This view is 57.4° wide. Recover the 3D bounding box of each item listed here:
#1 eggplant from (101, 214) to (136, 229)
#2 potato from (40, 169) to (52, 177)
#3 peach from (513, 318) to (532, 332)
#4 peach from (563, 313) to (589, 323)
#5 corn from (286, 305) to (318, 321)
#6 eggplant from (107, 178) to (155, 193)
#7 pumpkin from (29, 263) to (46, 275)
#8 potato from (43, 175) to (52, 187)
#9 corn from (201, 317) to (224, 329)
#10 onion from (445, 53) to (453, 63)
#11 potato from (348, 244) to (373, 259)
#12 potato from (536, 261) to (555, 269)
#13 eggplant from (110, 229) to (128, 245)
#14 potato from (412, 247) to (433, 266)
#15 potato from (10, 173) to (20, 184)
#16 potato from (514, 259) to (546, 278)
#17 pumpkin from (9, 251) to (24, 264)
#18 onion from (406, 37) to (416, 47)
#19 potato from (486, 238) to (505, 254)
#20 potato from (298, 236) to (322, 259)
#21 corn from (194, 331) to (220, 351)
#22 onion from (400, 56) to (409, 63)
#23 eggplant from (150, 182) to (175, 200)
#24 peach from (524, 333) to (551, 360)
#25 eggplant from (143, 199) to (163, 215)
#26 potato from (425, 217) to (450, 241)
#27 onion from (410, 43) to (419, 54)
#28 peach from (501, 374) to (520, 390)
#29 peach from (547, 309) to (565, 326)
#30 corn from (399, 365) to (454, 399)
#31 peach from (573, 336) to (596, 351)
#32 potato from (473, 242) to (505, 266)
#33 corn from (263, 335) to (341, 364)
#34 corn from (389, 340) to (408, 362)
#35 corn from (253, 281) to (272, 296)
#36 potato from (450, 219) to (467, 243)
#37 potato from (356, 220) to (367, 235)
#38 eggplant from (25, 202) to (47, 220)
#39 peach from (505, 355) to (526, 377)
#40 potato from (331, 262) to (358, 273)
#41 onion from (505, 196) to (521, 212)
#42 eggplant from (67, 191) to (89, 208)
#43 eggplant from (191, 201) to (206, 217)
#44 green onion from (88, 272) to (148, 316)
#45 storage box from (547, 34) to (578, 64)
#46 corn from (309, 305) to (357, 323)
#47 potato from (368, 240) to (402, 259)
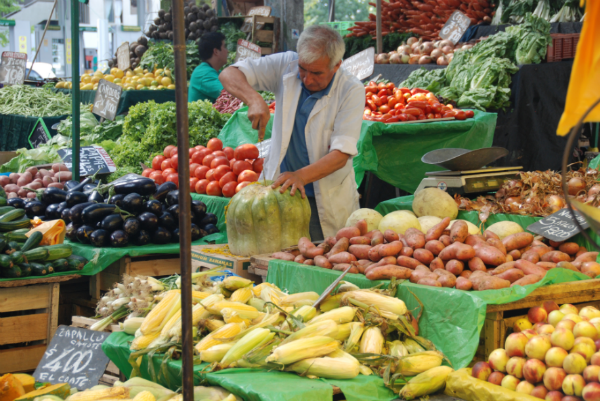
[{"bbox_3d":[-1.574,0.184,4.744,0.275,0.132,0.133,-10,6,-17],"label":"eggplant"},{"bbox_3d":[-3.186,-0.354,6.845,0.147,0.066,0.087,14,46,31],"label":"potato"},{"bbox_3d":[1.347,0.753,3.329,0.073,0.076,0.077,-31,-21,28],"label":"peach"},{"bbox_3d":[1.631,0.696,3.260,0.071,0.043,0.073,2,2,-35],"label":"peach"},{"bbox_3d":[0.033,0.684,3.328,0.128,0.077,0.053,-32,21,-3],"label":"corn"},{"bbox_3d":[-1.495,-0.110,4.875,0.309,0.140,0.143,1,-17,-8],"label":"eggplant"},{"bbox_3d":[-2.083,0.548,4.367,0.115,0.088,0.041,-1,7,-4],"label":"pumpkin"},{"bbox_3d":[-3.019,-0.224,6.535,0.089,0.128,0.093,3,12,-9],"label":"potato"},{"bbox_3d":[-0.544,0.759,3.382,0.113,0.066,0.041,1,-1,9],"label":"corn"},{"bbox_3d":[2.382,-2.280,8.821,0.108,0.178,0.251,1,7,15],"label":"onion"},{"bbox_3d":[0.419,0.343,3.813,0.134,0.073,0.079,13,-20,42],"label":"potato"},{"bbox_3d":[1.637,0.430,3.668,0.062,0.029,0.062,-6,9,-38],"label":"potato"},{"bbox_3d":[-1.532,0.326,4.629,0.119,0.146,0.122,1,17,-13],"label":"eggplant"},{"bbox_3d":[0.814,0.375,3.660,0.116,0.069,0.087,14,-9,-20],"label":"potato"},{"bbox_3d":[-3.538,-0.265,6.800,0.111,0.141,0.114,1,3,10],"label":"potato"},{"bbox_3d":[1.496,0.436,3.568,0.178,0.060,0.090,21,17,22],"label":"potato"},{"bbox_3d":[-2.216,0.446,4.298,0.088,0.071,0.068,-9,-31,1],"label":"pumpkin"},{"bbox_3d":[2.036,-2.900,10.067,0.194,0.246,0.201,0,14,1],"label":"onion"},{"bbox_3d":[1.349,0.305,3.786,0.067,0.061,0.135,5,29,-24],"label":"potato"},{"bbox_3d":[0.071,0.353,3.984,0.173,0.118,0.225,-1,7,-1],"label":"potato"},{"bbox_3d":[-0.548,0.830,3.228,0.140,0.056,0.085,-30,48,-25],"label":"corn"},{"bbox_3d":[1.805,-2.425,9.479,0.110,0.159,0.114,1,9,5],"label":"onion"},{"bbox_3d":[-1.246,-0.087,4.993,0.227,0.092,0.108,-36,18,-23],"label":"eggplant"},{"bbox_3d":[1.349,0.833,3.126,0.143,0.121,0.129,7,15,41],"label":"peach"},{"bbox_3d":[-1.285,0.076,4.807,0.124,0.131,0.171,7,-9,-23],"label":"eggplant"},{"bbox_3d":[0.971,0.213,3.947,0.243,0.090,0.088,-36,65,-28],"label":"potato"},{"bbox_3d":[2.027,-2.684,9.674,0.100,0.208,0.410,0,7,8],"label":"onion"},{"bbox_3d":[1.187,1.031,3.111,0.081,0.082,0.082,28,28,15],"label":"peach"},{"bbox_3d":[1.537,0.705,3.296,0.081,0.081,0.078,1,-1,-4],"label":"peach"},{"bbox_3d":[0.704,1.020,3.147,0.354,0.133,0.129,-22,-26,-21],"label":"corn"},{"bbox_3d":[1.597,0.809,3.085,0.084,0.089,0.092,4,12,32],"label":"peach"},{"bbox_3d":[1.252,0.363,3.687,0.108,0.072,0.210,-16,26,-11],"label":"potato"},{"bbox_3d":[0.011,0.857,3.101,0.415,0.137,0.133,-4,-7,-27],"label":"corn"},{"bbox_3d":[0.574,0.881,3.221,0.063,0.066,0.082,-37,14,-2],"label":"corn"},{"bbox_3d":[-0.258,0.593,3.725,0.097,0.040,0.074,-30,17,-21],"label":"corn"},{"bbox_3d":[1.096,0.217,3.787,0.084,0.087,0.177,8,33,12],"label":"potato"},{"bbox_3d":[0.455,0.200,4.039,0.076,0.105,0.089,-2,1,1],"label":"potato"},{"bbox_3d":[-2.523,0.104,5.250,0.195,0.151,0.141,0,-2,-41],"label":"eggplant"},{"bbox_3d":[1.225,0.946,3.132,0.103,0.109,0.101,-3,-2,2],"label":"peach"},{"bbox_3d":[0.302,0.454,3.726,0.133,0.050,0.068,1,-1,14],"label":"potato"},{"bbox_3d":[1.730,0.027,4.475,0.103,0.066,0.121,-24,30,-6],"label":"onion"},{"bbox_3d":[-2.059,-0.015,5.062,0.165,0.132,0.127,-9,30,-21],"label":"eggplant"},{"bbox_3d":[-0.950,0.075,5.103,0.123,0.125,0.125,9,9,30],"label":"eggplant"},{"bbox_3d":[-1.249,0.658,3.859,0.363,0.323,0.400,7,12,40],"label":"green onion"},{"bbox_3d":[3.506,-2.046,7.381,0.362,0.395,0.393,3,8,25],"label":"storage box"},{"bbox_3d":[0.197,0.695,3.290,0.311,0.086,0.092,-4,8,-25],"label":"corn"},{"bbox_3d":[0.578,0.349,3.715,0.234,0.127,0.126,0,7,3],"label":"potato"}]
